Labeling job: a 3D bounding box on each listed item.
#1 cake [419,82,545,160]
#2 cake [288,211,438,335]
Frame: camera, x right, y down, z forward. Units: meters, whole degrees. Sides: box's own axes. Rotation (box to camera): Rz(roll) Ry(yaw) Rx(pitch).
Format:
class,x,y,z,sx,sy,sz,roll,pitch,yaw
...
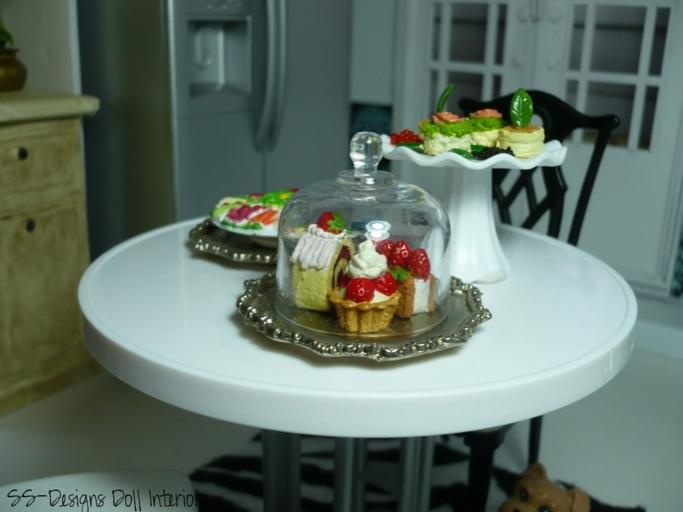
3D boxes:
class,x,y,z,sx,sy,sz,roll,pitch,yaw
cake,0.314,-0.307,1.346,0.260,0.147,0.224,-1,21,-6
cake,0.040,0.023,1.082,0.229,0.159,0.182,8,11,11
